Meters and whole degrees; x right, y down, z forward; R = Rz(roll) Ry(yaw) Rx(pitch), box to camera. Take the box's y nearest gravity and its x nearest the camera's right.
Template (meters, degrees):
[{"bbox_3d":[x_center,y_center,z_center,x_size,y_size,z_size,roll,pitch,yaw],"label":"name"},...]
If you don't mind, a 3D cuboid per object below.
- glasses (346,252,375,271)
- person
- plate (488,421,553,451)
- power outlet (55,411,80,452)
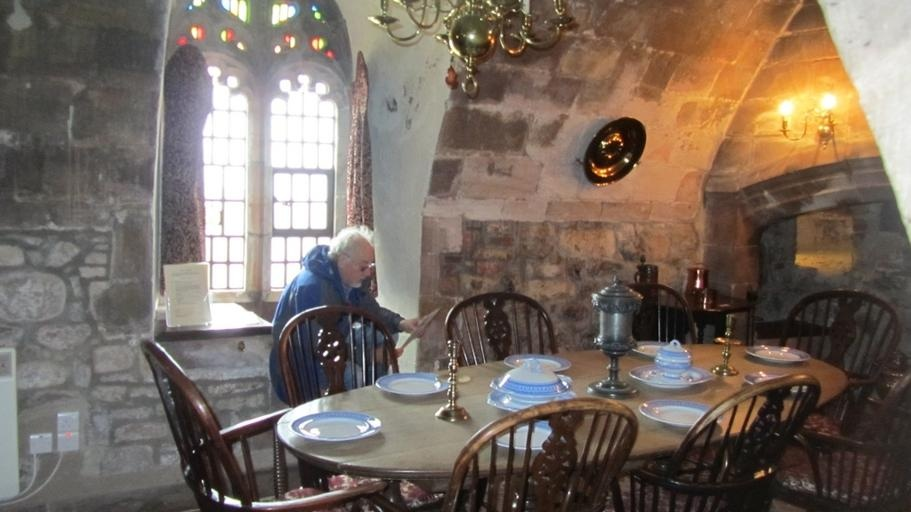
[{"bbox_3d":[-0.618,0.053,4.623,0.103,0.100,0.161,-2,-3,30],"label":"glasses"},{"bbox_3d":[-0.770,0.372,4.736,1.087,1.088,0.822,3,9,0],"label":"person"},{"bbox_3d":[0.333,0.880,3.338,0.257,0.130,0.379,-1,-3,6],"label":"plate"},{"bbox_3d":[-2.537,1.161,4.474,0.033,0.268,0.165,-18,-16,29],"label":"power outlet"}]
